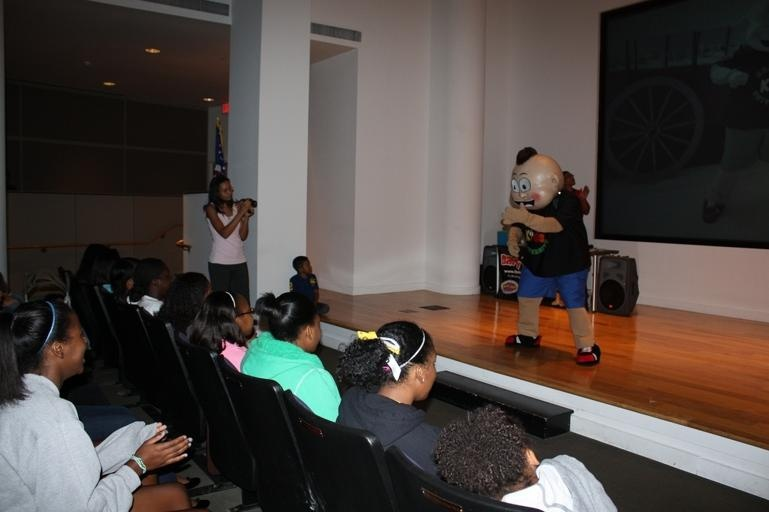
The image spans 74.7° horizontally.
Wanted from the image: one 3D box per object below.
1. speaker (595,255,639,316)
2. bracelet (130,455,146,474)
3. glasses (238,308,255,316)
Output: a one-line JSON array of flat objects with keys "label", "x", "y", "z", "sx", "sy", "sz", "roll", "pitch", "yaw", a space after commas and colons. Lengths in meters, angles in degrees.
[{"label": "speaker", "x": 2.846, "y": 0.346, "z": 6.131, "sx": 0.382, "sy": 0.709, "sz": 0.406, "roll": -5, "pitch": 8, "yaw": -36}, {"label": "bracelet", "x": -1.041, "y": 0.912, "z": 2.166, "sx": 0.067, "sy": 0.081, "sz": 0.035, "roll": 17, "pitch": 43, "yaw": 43}, {"label": "glasses", "x": -0.819, "y": 0.333, "z": 2.995, "sx": 0.075, "sy": 0.023, "sz": 0.075, "roll": -2, "pitch": -1, "yaw": 33}]
